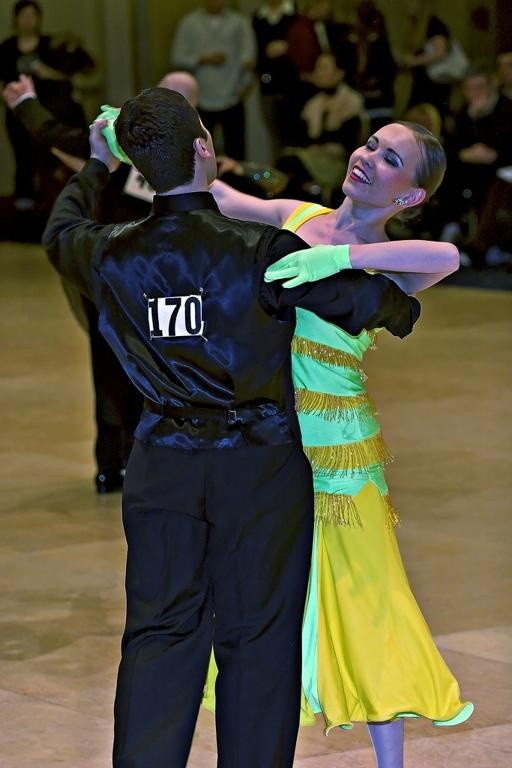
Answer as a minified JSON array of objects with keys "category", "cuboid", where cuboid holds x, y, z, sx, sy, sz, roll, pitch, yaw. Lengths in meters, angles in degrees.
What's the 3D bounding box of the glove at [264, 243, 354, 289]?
[{"category":"glove","cuboid":[0.093,-0.177,1.197,0.077,0.062,0.197,8,13,38]}]
